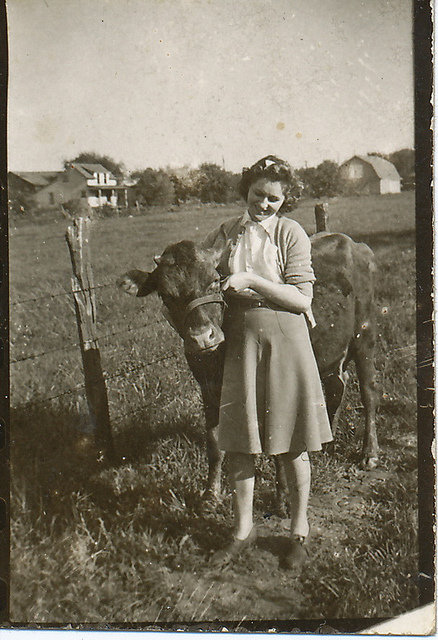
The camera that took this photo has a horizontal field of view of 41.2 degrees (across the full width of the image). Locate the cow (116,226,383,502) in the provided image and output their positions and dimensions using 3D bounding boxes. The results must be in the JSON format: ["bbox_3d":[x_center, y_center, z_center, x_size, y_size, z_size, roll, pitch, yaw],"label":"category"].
[{"bbox_3d":[0.348,0.212,2.836,0.569,1.210,1.547,-1,9,39],"label":"cow"}]
